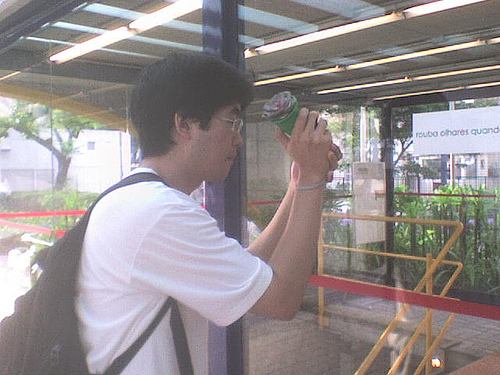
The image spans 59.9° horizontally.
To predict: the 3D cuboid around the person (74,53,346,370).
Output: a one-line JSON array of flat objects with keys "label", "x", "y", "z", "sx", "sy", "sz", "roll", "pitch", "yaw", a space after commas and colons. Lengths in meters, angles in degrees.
[{"label": "person", "x": -0.126, "y": 0.079, "z": 1.445, "sx": 0.797, "sy": 1.048, "sz": 0.513, "roll": 0, "pitch": 4, "yaw": 0}]
